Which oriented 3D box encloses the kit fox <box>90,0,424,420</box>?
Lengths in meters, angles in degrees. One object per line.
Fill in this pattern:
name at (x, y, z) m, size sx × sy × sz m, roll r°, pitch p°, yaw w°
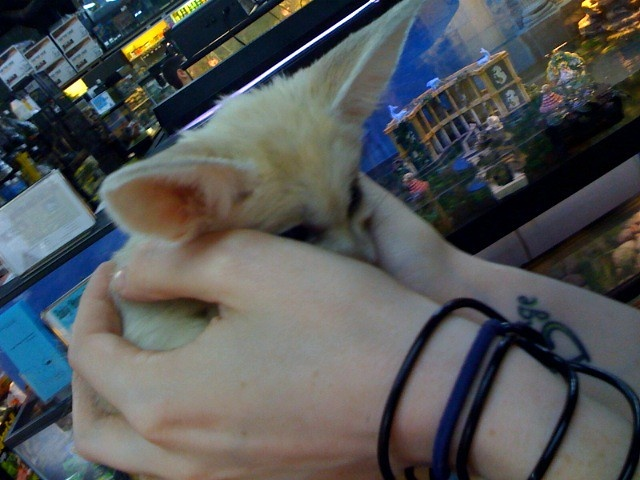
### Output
kit fox at (-0.108, -0.014, 1.071) m, size 0.542 × 0.582 × 0.740 m, roll 11°, pitch 28°, yaw 15°
